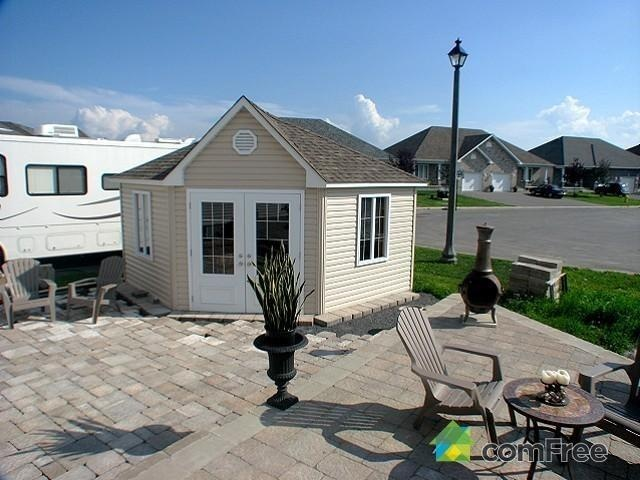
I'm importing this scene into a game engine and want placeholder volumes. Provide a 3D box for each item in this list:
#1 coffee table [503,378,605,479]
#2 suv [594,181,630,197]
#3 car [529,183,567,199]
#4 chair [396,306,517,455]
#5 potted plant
[{"bbox_3d":[2.757,2.329,5.309,1.367,0.899,1.238,4,12,18],"label":"coffee table"},{"bbox_3d":[36.967,-6.381,52.964,3.163,1.580,1.670,4,14,21],"label":"suv"},{"bbox_3d":[26.111,-5.619,47.692,1.948,0.977,3.571,-4,13,-26],"label":"car"},{"bbox_3d":[1.781,1.877,5.909,1.748,1.359,1.336,9,16,37],"label":"chair"},{"bbox_3d":[-0.608,1.369,6.316,0.796,2.258,0.869,-2,14,-7],"label":"potted plant"}]
